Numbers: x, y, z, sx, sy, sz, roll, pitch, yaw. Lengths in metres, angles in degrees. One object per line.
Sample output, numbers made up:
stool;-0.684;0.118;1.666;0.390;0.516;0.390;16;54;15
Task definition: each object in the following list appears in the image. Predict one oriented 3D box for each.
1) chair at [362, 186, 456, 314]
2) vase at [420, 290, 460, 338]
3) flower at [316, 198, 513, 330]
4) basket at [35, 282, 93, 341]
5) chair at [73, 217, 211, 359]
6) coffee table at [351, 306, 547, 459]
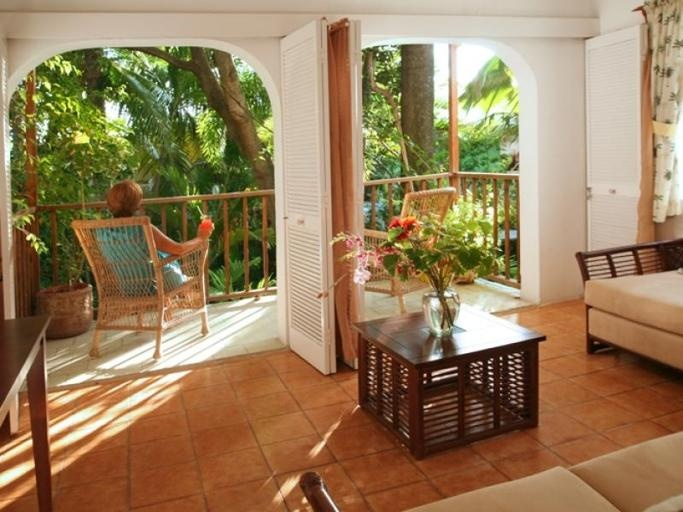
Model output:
chair;0.571;-0.071;5.145;0.961;1.125;0.995;2;8;20
vase;0.599;0.342;3.164;0.242;0.271;0.236;1;2;-23
flower;0.461;0.104;3.190;1.029;0.774;0.770;-7;1;39
basket;-2.412;0.488;4.552;0.469;0.427;0.470;-1;6;-28
chair;-1.733;0.203;4.588;0.807;1.130;0.934;1;8;19
coffee table;0.551;0.585;3.234;0.827;0.515;0.825;-6;11;-24
